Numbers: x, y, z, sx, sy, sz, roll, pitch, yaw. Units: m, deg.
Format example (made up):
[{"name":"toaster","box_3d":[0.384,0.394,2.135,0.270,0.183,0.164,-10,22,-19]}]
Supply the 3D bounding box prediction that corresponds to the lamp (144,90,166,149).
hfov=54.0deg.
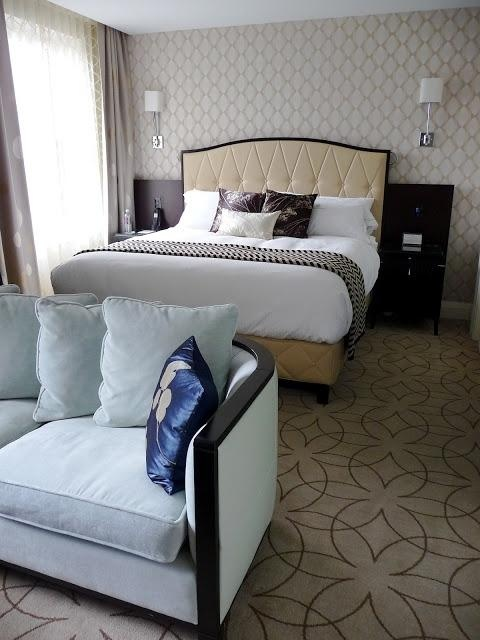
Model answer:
[{"name":"lamp","box_3d":[-0.832,-1.975,4.625,0.159,0.530,0.156,-16,32,-32]}]

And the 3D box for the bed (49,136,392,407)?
[{"name":"bed","box_3d":[0.020,-0.629,3.612,2.089,1.536,2.183,5,17,16]}]

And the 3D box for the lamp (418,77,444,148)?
[{"name":"lamp","box_3d":[1.503,-1.644,3.727,0.182,0.491,0.199,5,14,21]}]
